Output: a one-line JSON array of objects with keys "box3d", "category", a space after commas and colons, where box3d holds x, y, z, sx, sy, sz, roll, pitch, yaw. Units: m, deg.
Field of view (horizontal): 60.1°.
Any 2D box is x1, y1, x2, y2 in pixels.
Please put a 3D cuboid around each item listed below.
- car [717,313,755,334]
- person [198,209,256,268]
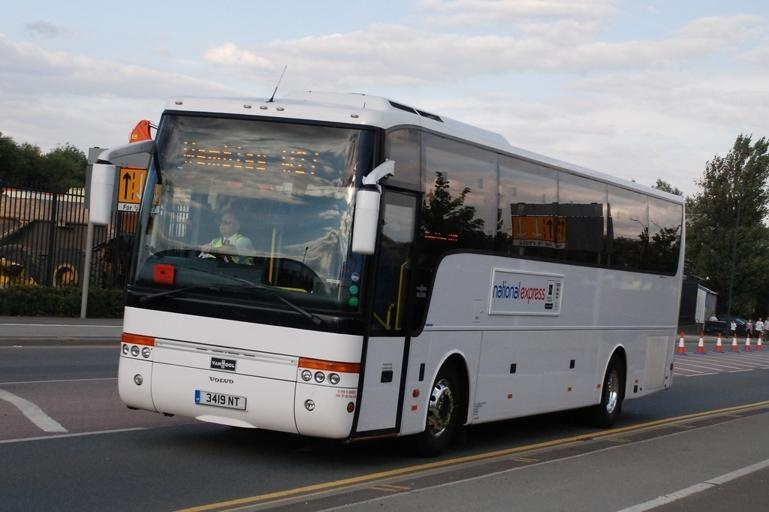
[{"box3d": [38.106, 7.417, 72.291, 4.411, 1.447, 2.841, 5, -4, -18], "category": "car"}, {"box3d": [-2.060, -0.198, 8.969, 1.061, 0.893, 0.596, 3, 4, 32], "category": "person"}]
